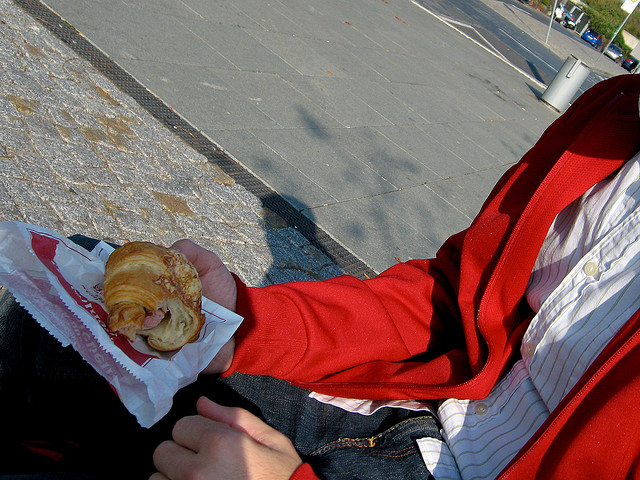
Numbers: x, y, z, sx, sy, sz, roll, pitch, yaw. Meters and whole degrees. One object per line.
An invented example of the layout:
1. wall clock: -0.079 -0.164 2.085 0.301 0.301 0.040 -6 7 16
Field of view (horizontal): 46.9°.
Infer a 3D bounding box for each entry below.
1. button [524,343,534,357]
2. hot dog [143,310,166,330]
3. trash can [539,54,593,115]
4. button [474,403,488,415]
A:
1. button: 0.794 0.421 2.829 0.008 0.049 0.051 8 38 -26
2. hot dog: -0.578 0.278 2.586 0.070 0.055 0.025 -23 19 -4
3. trash can: 3.747 -2.428 11.378 0.416 0.889 0.564 32 34 9
4. button: 0.615 0.651 2.840 0.039 0.034 0.041 13 36 -21
